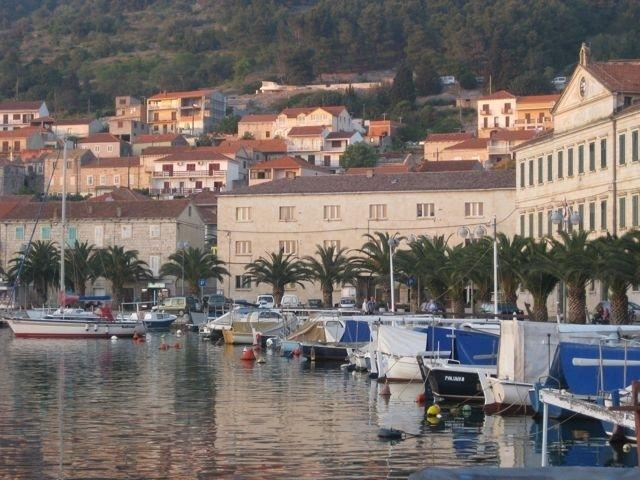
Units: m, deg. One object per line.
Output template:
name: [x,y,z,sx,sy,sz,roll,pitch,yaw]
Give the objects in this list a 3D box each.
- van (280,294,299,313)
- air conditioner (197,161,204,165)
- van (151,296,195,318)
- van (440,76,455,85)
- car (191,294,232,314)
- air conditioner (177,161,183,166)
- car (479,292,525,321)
van: [-4.398,9.292,299.812,1.956,1.991,3.489,1,5,1]
air conditioner: [-22.484,-15.624,379.411,1.035,0.711,0.235,-2,-6,16]
van: [-21.646,9.986,309.899,5.229,2.702,3.174,1,-3,20]
van: [30.340,-39.130,466.895,3.376,2.601,1.786,-1,-7,13]
car: [-16.527,9.505,308.571,4.960,2.619,3.104,4,-6,-18]
air conditioner: [-26.313,-15.701,380.544,1.101,1.178,0.601,0,28,2]
car: [25.264,9.053,279.236,3.111,2.686,5.215,-2,6,-38]
